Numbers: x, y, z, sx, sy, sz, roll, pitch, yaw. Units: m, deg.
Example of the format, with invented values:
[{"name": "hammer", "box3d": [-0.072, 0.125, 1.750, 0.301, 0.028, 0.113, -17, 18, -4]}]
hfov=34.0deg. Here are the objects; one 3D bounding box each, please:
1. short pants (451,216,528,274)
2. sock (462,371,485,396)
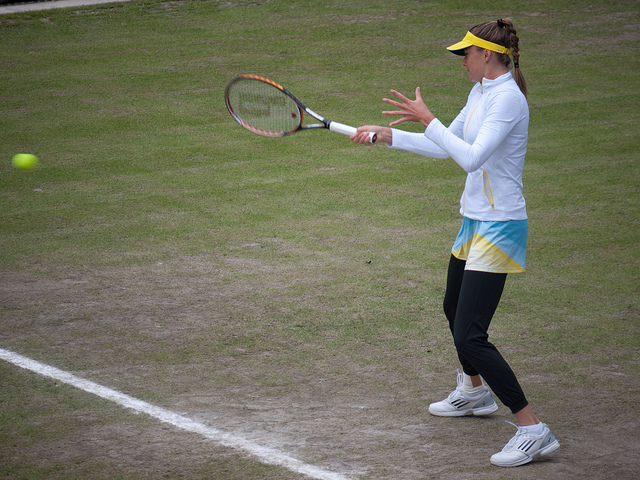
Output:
[{"name": "short pants", "box3d": [1.651, 0.051, 10.290, 0.734, 0.520, 0.488, 2, 23, 15]}, {"name": "sock", "box3d": [1.565, 1.453, 10.566, 0.213, 0.235, 0.151, 0, 25, 13]}]
